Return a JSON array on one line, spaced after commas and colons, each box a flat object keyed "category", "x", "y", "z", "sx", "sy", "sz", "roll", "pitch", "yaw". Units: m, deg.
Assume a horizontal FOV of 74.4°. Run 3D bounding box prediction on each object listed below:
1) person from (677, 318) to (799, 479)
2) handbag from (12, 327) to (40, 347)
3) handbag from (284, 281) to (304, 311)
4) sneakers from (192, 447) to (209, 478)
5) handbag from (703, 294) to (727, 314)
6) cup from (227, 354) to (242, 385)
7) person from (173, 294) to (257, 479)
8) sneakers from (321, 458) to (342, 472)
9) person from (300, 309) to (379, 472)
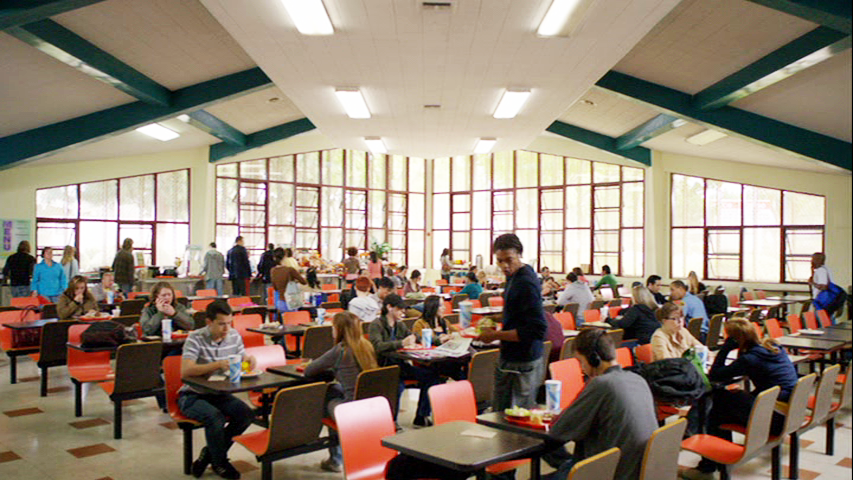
[{"category": "person", "x": 4.488, "y": 1.945, "z": 7.806, "sx": 1.125, "sy": 1.683, "sz": 0.560, "roll": -1, "pitch": -4, "yaw": 17}, {"category": "handbag", "x": -7.175, "y": 1.731, "z": 10.025, "sx": 0.418, "sy": 0.336, "sz": 0.286, "roll": 1, "pitch": 24, "yaw": -37}, {"category": "handbag", "x": -2.951, "y": 1.260, "z": 12.471, "sx": 0.426, "sy": 0.695, "sz": 0.581, "roll": -12, "pitch": -14, "yaw": 32}, {"category": "sneakers", "x": -3.073, "y": 3.011, "z": 7.636, "sx": 0.219, "sy": 0.381, "sz": 0.209, "roll": 1, "pitch": -4, "yaw": -20}, {"category": "handbag", "x": 6.629, "y": 1.458, "z": 12.707, "sx": 0.601, "sy": 0.522, "sz": 0.442, "roll": -3, "pitch": -5, "yaw": 37}, {"category": "cup", "x": -2.530, "y": 1.710, "z": 7.412, "sx": 0.141, "sy": 0.353, "sz": 0.112, "roll": 0, "pitch": -4, "yaw": -5}, {"category": "person", "x": -2.908, "y": 2.029, "z": 7.680, "sx": 1.037, "sy": 2.376, "sz": 0.642, "roll": 0, "pitch": -4, "yaw": 0}, {"category": "sneakers", "x": -1.303, "y": 3.104, "z": 7.782, "sx": 0.292, "sy": 0.169, "sz": 0.134, "roll": 10, "pitch": 3, "yaw": 32}, {"category": "person", "x": -1.215, "y": 2.085, "z": 7.611, "sx": 1.051, "sy": 2.185, "sz": 0.790, "roll": -1, "pitch": -4, "yaw": 11}]
